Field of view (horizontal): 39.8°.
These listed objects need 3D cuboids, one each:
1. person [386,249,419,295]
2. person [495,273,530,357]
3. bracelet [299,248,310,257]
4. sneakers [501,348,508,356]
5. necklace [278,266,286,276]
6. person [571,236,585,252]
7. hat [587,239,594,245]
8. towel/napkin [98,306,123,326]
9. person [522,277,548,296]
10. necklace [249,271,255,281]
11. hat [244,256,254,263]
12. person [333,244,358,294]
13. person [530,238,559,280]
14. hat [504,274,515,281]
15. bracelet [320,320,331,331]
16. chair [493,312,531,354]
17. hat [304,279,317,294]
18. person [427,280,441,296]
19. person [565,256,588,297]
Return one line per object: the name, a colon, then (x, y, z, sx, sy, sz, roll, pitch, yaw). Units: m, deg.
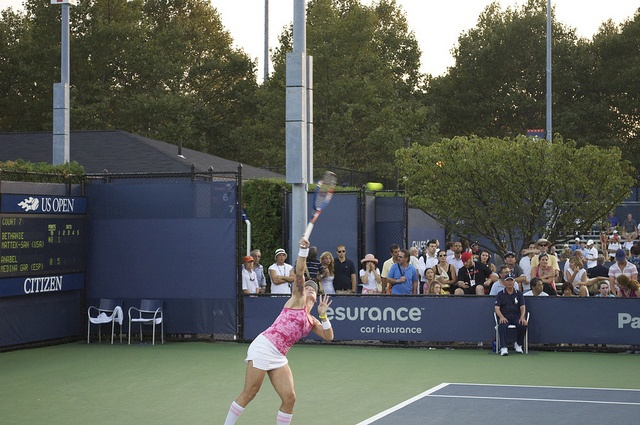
person: (3.009, 2.165, 31.695, 1.094, 1.487, 0.823, 1, 14, 4)
person: (6.634, 3.406, 30.338, 1.075, 2.820, 0.785, -3, 14, -9)
bracelet: (-0.413, 1.046, 23.192, 0.238, 0.189, 0.253, 8, 9, 44)
sneakers: (6.362, 4.728, 30.261, 0.274, 0.284, 0.270, 0, 13, 3)
necklace: (-1.321, 2.076, 31.668, 0.207, 0.327, 0.077, -1, -11, -5)
person: (12.424, 1.488, 42.344, 0.602, 0.420, 1.225, -2, 29, 18)
hat: (11.852, 1.243, 38.498, 0.322, 0.279, 0.534, 0, -10, 19)
towel/napkin: (-7.614, 3.731, 32.031, 0.822, 0.551, 0.644, -7, -7, 44)
person: (7.595, 2.641, 31.022, 1.005, 0.623, 0.562, 1, -13, 0)
necklace: (-2.422, 2.280, 32.194, 0.221, 0.311, 0.122, -4, -8, 1)
hat: (-2.571, 1.677, 31.892, 0.270, 0.091, 0.192, -13, 16, -8)
person: (0.931, 2.082, 32.366, 0.837, 1.652, 0.860, 0, 14, 1)
person: (8.267, 1.955, 32.338, 0.989, 1.983, 0.755, 0, -10, 5)
hat: (6.564, 2.198, 30.308, 0.222, 0.193, 0.369, 2, -10, 10)
bracelet: (0.198, 2.993, 23.682, 0.263, 0.269, 0.251, -1, 3, -23)
chair: (6.722, 4.252, 30.834, 1.544, 1.857, 1.308, 0, -13, 11)
hat: (-0.242, 1.988, 23.794, 0.452, 0.234, 0.592, 5, -5, -6)
person: (4.123, 2.678, 31.578, 0.442, 0.549, 0.741, -3, 14, -12)
person: (9.358, 2.569, 31.982, 0.700, 2.105, 1.135, -6, -11, 19)
